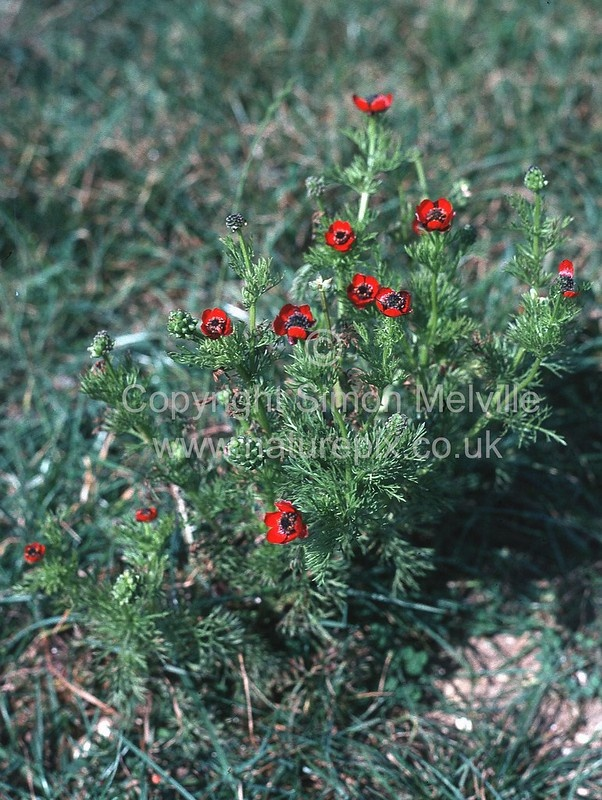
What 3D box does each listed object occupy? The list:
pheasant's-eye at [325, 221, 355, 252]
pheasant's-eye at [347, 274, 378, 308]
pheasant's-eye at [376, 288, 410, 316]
[{"bbox_3d":[0.119,-0.515,2.477,0.099,0.044,0.091,-7,85,12],"label":"pheasant's-eye"},{"bbox_3d":[0.186,-0.340,2.463,0.102,0.052,0.102,-10,83,9],"label":"pheasant's-eye"},{"bbox_3d":[0.273,-0.289,2.352,0.109,0.053,0.094,-11,50,-7],"label":"pheasant's-eye"}]
